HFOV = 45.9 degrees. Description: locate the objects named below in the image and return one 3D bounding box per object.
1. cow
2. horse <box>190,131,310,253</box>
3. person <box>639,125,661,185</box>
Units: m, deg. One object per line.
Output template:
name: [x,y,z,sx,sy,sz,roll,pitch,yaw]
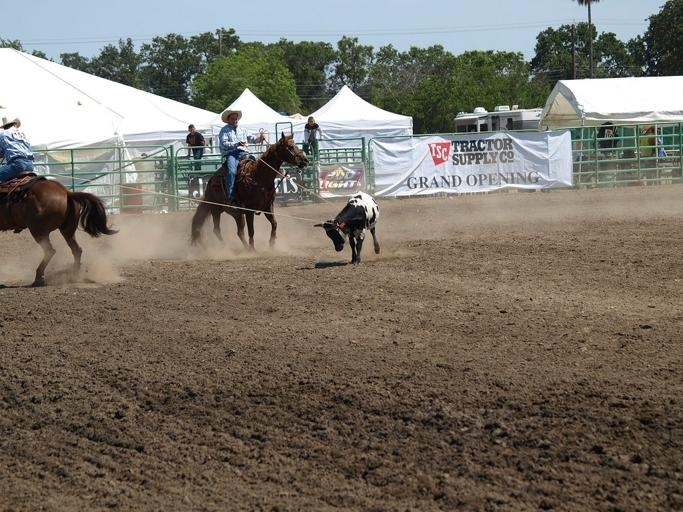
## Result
cow: [0.205,-0.412,13.425,0.485,1.056,1.849,-3,11,27]
horse: [-1.817,-1.062,15.360,0.762,2.045,3.406,-5,3,-43]
person: [9.496,-2.948,25.098,0.810,1.501,0.564,-9,15,-31]
